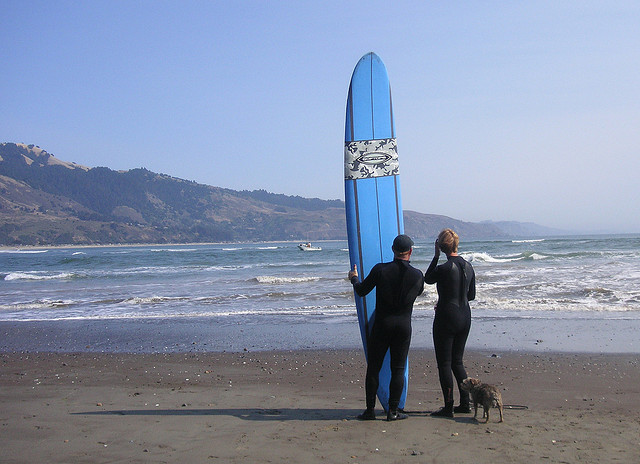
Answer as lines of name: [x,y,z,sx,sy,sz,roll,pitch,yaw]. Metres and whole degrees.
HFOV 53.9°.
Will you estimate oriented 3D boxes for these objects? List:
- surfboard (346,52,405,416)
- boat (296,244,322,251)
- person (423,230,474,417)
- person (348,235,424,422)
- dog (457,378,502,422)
surfboard: [0.723,-0.375,8.665,0.722,0.420,4.913,-9,-41,-1]
boat: [-1.345,1.723,72.661,2.701,0.762,0.784,7,-14,-15]
person: [1.496,1.046,7.220,0.544,2.135,0.547,-1,-1,12]
person: [0.771,1.086,7.065,0.794,2.088,0.284,-1,-1,7]
dog: [1.844,1.899,7.144,0.475,0.461,0.249,-2,-2,43]
